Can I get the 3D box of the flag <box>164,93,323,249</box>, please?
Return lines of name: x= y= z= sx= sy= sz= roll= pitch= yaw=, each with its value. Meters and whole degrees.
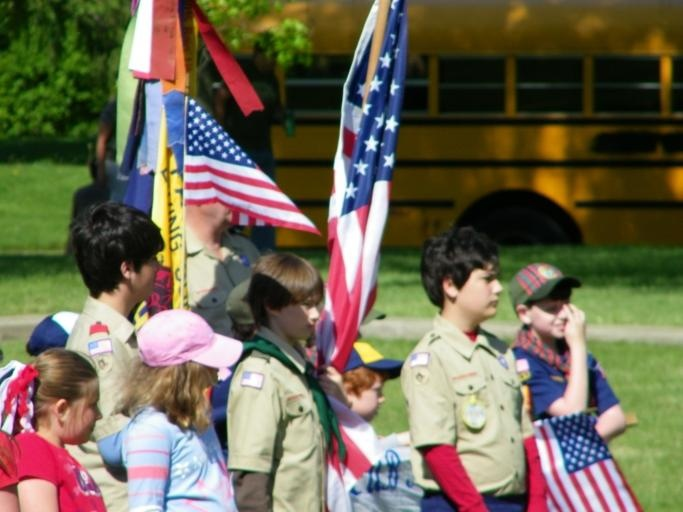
flag: x=-1.128 y=-0.968 z=23.099 sx=1.700 sy=1.805 sz=0.212 roll=2 pitch=-2 yaw=-5

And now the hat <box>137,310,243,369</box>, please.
hat: x=-1.513 y=0.800 z=19.801 sx=0.757 sy=0.364 sz=0.545 roll=0 pitch=13 yaw=-5

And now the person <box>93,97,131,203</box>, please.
person: x=-3.185 y=-1.384 z=27.886 sx=0.387 sy=1.356 sz=2.059 roll=3 pitch=2 yaw=-7
